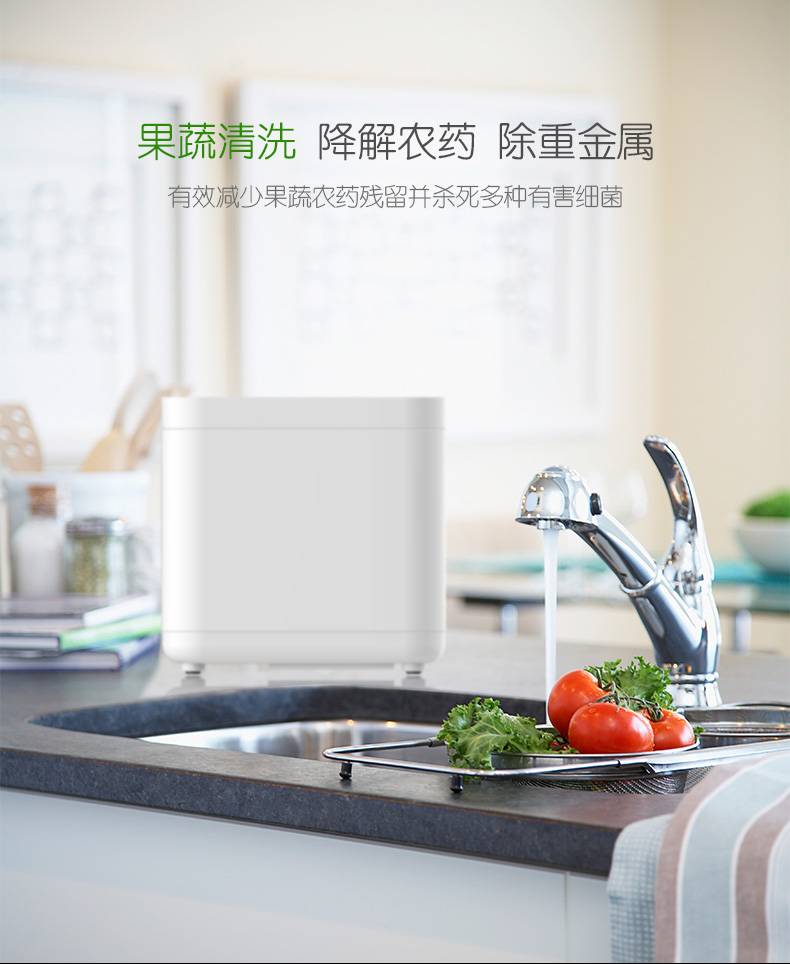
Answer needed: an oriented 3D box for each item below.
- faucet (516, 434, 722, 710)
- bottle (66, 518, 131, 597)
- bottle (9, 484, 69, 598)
[{"bbox_3d":[0.175,0.071,0.874,0.075,0.210,0.262,2,-9,43],"label":"faucet"},{"bbox_3d":[-0.366,0.092,1.372,0.076,0.096,0.078,-1,7,0],"label":"bottle"},{"bbox_3d":[-0.438,0.071,1.377,0.056,0.134,0.089,-7,9,-35],"label":"bottle"}]
